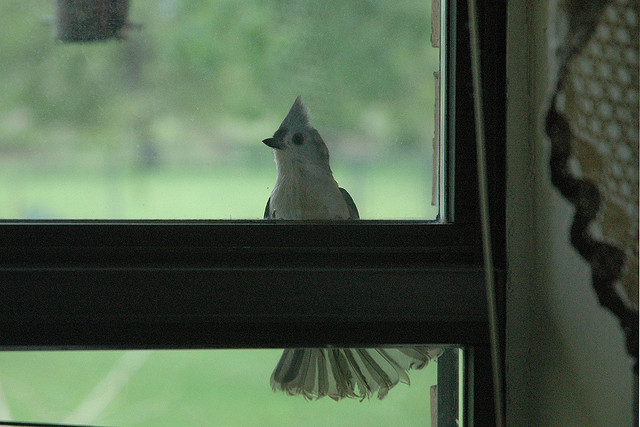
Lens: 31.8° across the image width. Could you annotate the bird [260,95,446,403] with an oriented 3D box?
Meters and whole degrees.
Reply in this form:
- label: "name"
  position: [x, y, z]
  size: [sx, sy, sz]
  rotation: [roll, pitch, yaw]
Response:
- label: "bird"
  position: [0.070, 0.121, 2.606]
  size: [0.370, 0.357, 0.679]
  rotation: [-12, -80, 5]
